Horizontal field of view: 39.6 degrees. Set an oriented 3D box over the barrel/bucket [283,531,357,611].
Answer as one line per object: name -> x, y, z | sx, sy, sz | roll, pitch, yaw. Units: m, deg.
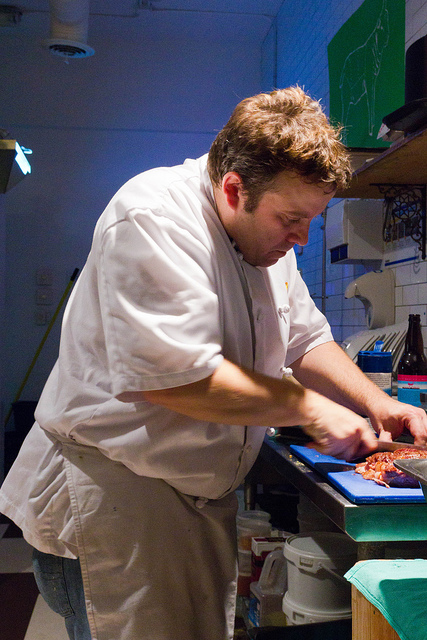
barrel/bucket -> 0.262, 0.632, 1.447 | 0.182, 0.150, 0.176 | 6, -9, 1
